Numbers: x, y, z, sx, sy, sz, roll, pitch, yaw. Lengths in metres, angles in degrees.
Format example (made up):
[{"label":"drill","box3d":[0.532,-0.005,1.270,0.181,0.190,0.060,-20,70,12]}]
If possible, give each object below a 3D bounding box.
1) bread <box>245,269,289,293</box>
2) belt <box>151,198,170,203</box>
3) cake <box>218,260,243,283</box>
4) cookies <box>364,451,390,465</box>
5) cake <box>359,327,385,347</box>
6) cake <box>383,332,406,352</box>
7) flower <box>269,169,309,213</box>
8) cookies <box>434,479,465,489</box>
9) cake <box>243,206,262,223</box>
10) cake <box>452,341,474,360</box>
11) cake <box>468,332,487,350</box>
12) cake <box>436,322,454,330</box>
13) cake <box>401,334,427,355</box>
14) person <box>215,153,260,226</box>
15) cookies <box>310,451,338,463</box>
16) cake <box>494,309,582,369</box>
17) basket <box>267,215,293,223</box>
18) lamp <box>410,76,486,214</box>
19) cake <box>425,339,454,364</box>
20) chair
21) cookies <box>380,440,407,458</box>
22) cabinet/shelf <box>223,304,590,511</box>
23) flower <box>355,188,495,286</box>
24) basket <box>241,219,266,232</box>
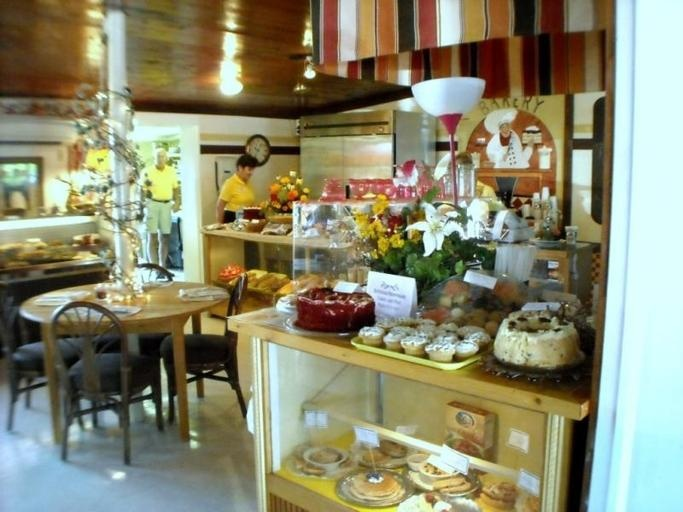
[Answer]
[{"label":"bread","box3d":[-0.795,0.273,5.683,0.404,0.245,0.080,0,-19,27]},{"label":"belt","box3d":[-2.353,-0.700,6.966,0.204,0.061,0.811,-4,9,-16]},{"label":"cake","box3d":[-1.283,0.193,6.119,0.276,0.148,0.263,-7,18,-17]},{"label":"cookies","box3d":[0.110,0.666,1.781,0.051,0.019,0.066,1,-4,26]},{"label":"cake","box3d":[0.088,0.236,1.574,0.060,0.038,0.058,-2,8,3]},{"label":"cake","box3d":[0.148,0.242,1.532,0.054,0.048,0.050,0,7,10]},{"label":"flower","box3d":[-0.602,-0.680,5.797,0.419,0.426,1.232,-3,9,-7]},{"label":"cookies","box3d":[0.323,0.685,1.626,0.053,0.017,0.058,-5,3,-39]},{"label":"cake","box3d":[-0.980,-0.450,5.847,0.164,0.093,0.161,5,11,22]},{"label":"cake","box3d":[0.330,0.254,1.464,0.047,0.032,0.047,0,7,25]},{"label":"cake","box3d":[0.384,0.237,1.522,0.048,0.024,0.049,7,12,42]},{"label":"cake","box3d":[0.313,0.207,1.606,0.049,0.016,0.065,1,9,13]},{"label":"cake","box3d":[0.202,0.248,1.497,0.058,0.038,0.055,-3,7,3]},{"label":"person","box3d":[-1.275,-0.789,6.350,0.499,0.798,0.600,-1,9,3]},{"label":"cookies","box3d":[-0.059,0.697,1.874,0.059,0.014,0.055,3,4,0]},{"label":"cake","box3d":[0.528,0.193,1.408,0.168,0.072,0.160,-11,15,-30]},{"label":"basket","box3d":[-0.650,-0.386,5.603,0.229,0.080,0.336,-3,9,-13]},{"label":"lamp","box3d":[0.367,-0.393,1.861,0.235,0.422,0.351,1,9,14]},{"label":"cake","box3d":[0.264,0.258,1.452,0.062,0.039,0.060,-5,9,-14]},{"label":"chair","box3d":[-1.319,0.628,3.436,1.278,0.971,0.907,-10,12,-44]},{"label":"cookies","box3d":[0.169,0.623,1.754,0.068,0.053,0.022,8,18,37]},{"label":"cabinet/shelf","box3d":[0.215,0.453,1.614,0.716,0.628,0.296,7,17,34]},{"label":"flower","box3d":[0.260,-0.047,1.802,0.460,0.307,0.224,5,11,38]},{"label":"basket","box3d":[-0.933,-0.313,5.663,0.252,0.115,0.259,0,9,10]}]
